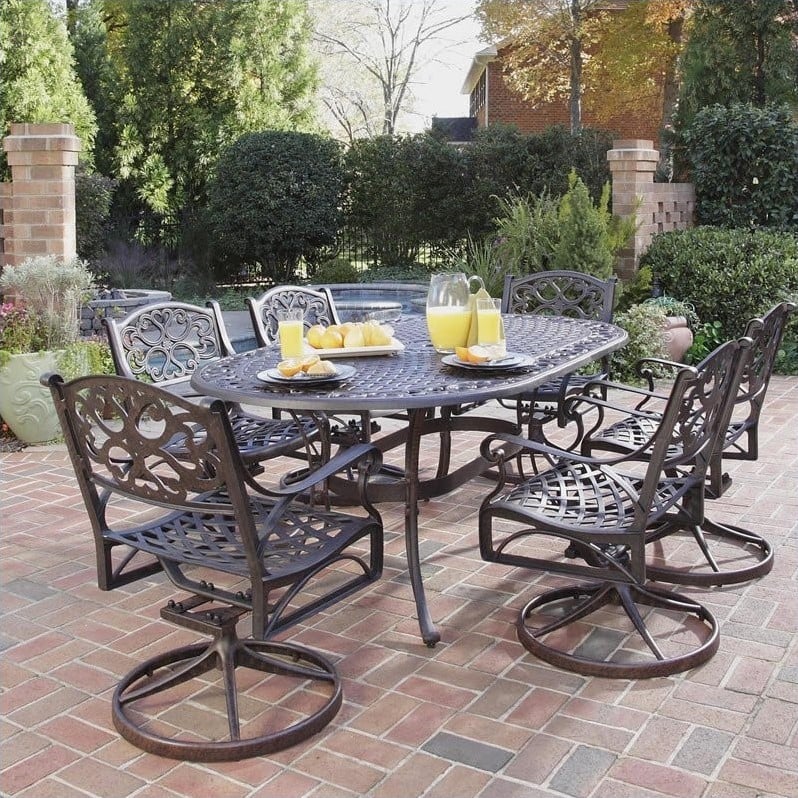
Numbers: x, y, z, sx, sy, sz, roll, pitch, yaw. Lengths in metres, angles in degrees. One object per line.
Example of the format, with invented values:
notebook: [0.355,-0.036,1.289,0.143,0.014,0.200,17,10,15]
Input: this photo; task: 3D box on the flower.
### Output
flower: [-2.366,-0.658,5.639,0.594,0.603,0.690,-6,13,-18]

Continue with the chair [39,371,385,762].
chair: [-0.532,0.440,2.528,0.770,0.910,0.789,3,2,41]

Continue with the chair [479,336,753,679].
chair: [0.748,0.338,2.939,0.830,0.948,0.824,3,10,36]
